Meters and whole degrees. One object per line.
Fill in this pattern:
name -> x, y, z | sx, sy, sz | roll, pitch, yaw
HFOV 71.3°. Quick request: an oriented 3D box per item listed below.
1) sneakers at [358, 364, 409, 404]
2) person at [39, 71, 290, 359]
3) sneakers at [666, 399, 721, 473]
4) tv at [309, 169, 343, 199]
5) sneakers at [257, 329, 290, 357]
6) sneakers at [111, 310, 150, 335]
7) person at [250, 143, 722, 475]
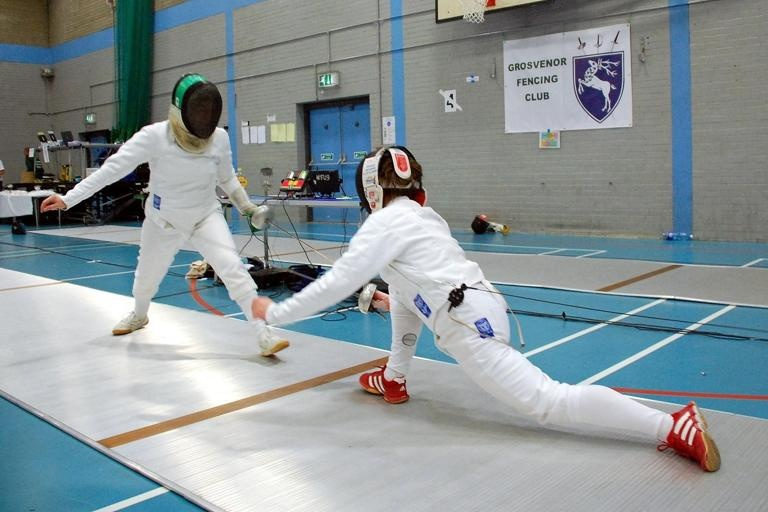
sneakers -> 0.001, 0.696, 2.988 | 0.132, 0.145, 0.337 | -3, 12, -41
person -> -1.340, -0.296, 3.650 | 1.191, 1.766, 0.546 | 3, 15, 15
sneakers -> 1.328, 0.765, 2.294 | 0.231, 0.270, 0.116 | 8, 17, 33
tv -> -0.756, -0.979, 7.282 | 0.632, 0.384, 0.324 | 3, 11, 10
sneakers -> -0.706, 0.545, 3.386 | 0.105, 0.125, 0.286 | -28, 4, -23
sneakers -> -1.838, 0.492, 3.947 | 0.108, 0.115, 0.272 | 5, 14, 33
person -> 0.343, 0.155, 2.862 | 2.380, 1.210, 1.215 | 11, 13, 32
